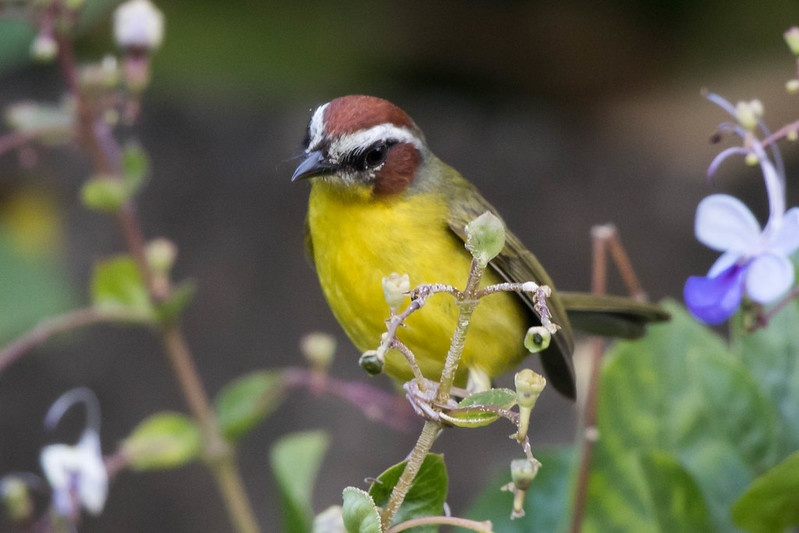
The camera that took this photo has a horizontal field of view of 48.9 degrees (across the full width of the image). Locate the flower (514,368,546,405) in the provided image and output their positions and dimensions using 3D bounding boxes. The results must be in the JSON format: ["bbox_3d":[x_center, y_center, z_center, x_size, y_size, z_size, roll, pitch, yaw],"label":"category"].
[{"bbox_3d":[0.194,0.181,1.307,0.041,0.063,0.119,3,2,8],"label":"flower"}]

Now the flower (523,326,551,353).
[{"bbox_3d":[0.203,0.113,1.288,0.036,0.047,0.022,26,-6,10],"label":"flower"}]

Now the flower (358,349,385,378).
[{"bbox_3d":[-0.045,0.140,1.275,0.035,0.037,0.038,0,-27,18],"label":"flower"}]
